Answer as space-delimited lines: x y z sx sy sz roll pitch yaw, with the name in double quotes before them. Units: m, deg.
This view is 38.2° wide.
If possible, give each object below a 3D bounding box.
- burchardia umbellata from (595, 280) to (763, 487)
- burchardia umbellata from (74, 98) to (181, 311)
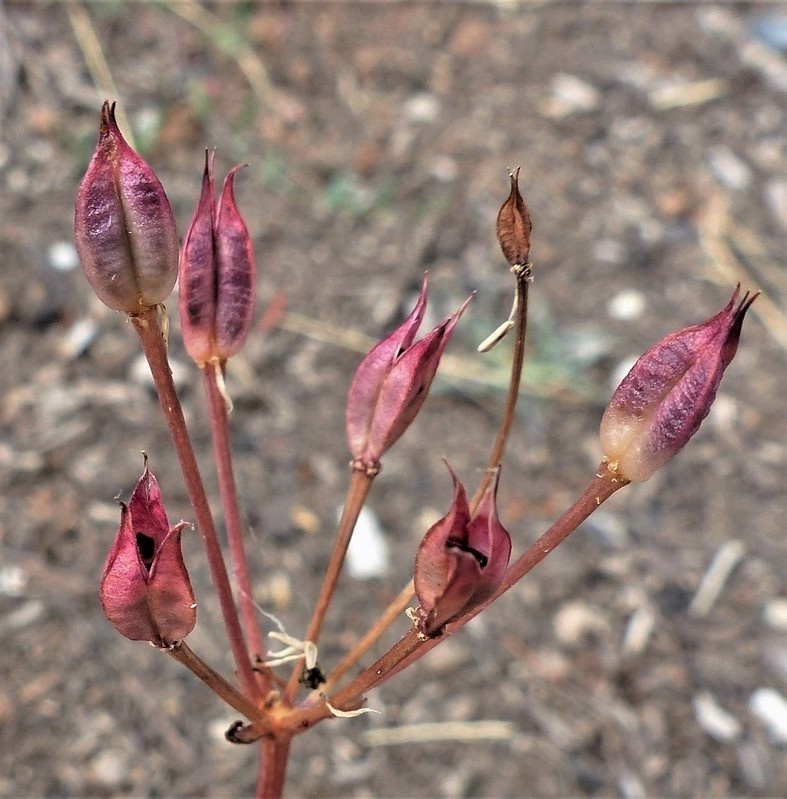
"burchardia umbellata" 0.309 -0.016 1.245 0.275 0.075 0.112 -44 82 10
"burchardia umbellata" -0.271 -0.205 1.190 0.134 0.073 0.205 -9 106 -5
